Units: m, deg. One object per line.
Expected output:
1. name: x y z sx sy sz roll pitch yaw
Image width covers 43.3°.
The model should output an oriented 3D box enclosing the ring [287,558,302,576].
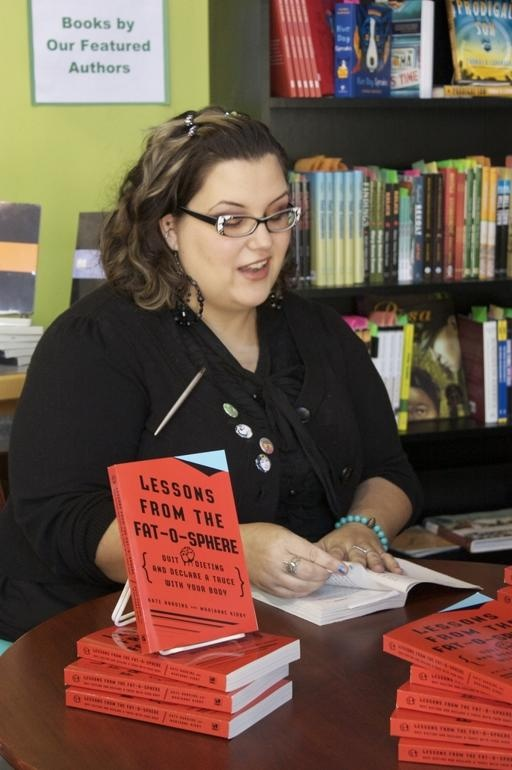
1. ring: 0.051 0.252 0.894 0.022 0.023 0.016 10 -5 -45

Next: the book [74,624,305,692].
1. book: -0.065 0.251 0.590 0.103 0.017 0.103 4 3 31

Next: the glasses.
1. glasses: -0.027 -0.308 1.220 0.227 0.052 0.078 -1 0 -6
